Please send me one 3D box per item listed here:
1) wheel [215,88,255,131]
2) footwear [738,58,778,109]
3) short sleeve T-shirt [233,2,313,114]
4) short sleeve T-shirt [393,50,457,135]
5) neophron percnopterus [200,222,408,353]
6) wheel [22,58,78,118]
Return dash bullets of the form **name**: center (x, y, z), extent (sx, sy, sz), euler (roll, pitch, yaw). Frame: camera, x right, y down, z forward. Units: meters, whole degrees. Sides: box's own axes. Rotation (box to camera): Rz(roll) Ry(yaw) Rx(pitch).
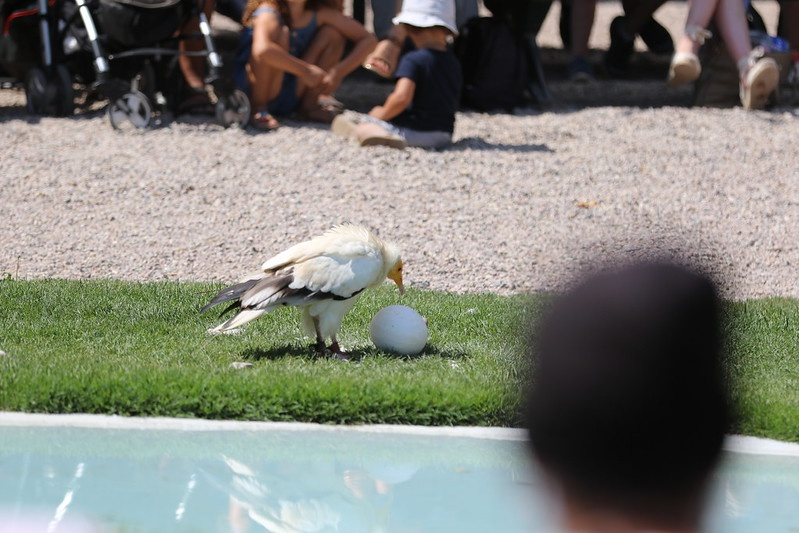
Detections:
- **wheel**: center (-1.600, -1.525, 13.332), extent (0.363, 0.366, 0.106), euler (-32, 7, 12)
- **footwear**: center (3.565, -1.868, 13.809), extent (0.348, 0.358, 0.465), euler (16, -22, -12)
- **short sleeve T-shirt**: center (-1.221, -2.030, 13.248), extent (0.590, 1.486, 0.706), euler (10, 39, -14)
- **short sleeve T-shirt**: center (0.235, -1.670, 13.070), extent (0.458, 0.596, 0.618), euler (22, 29, 40)
- **neophron percnopterus**: center (-0.678, 0.173, 10.325), extent (1.621, 1.010, 0.709), euler (1, 2, -27)
- **wheel**: center (-3.392, -1.742, 13.442), extent (0.248, 0.585, 0.580), euler (-10, 12, -34)
